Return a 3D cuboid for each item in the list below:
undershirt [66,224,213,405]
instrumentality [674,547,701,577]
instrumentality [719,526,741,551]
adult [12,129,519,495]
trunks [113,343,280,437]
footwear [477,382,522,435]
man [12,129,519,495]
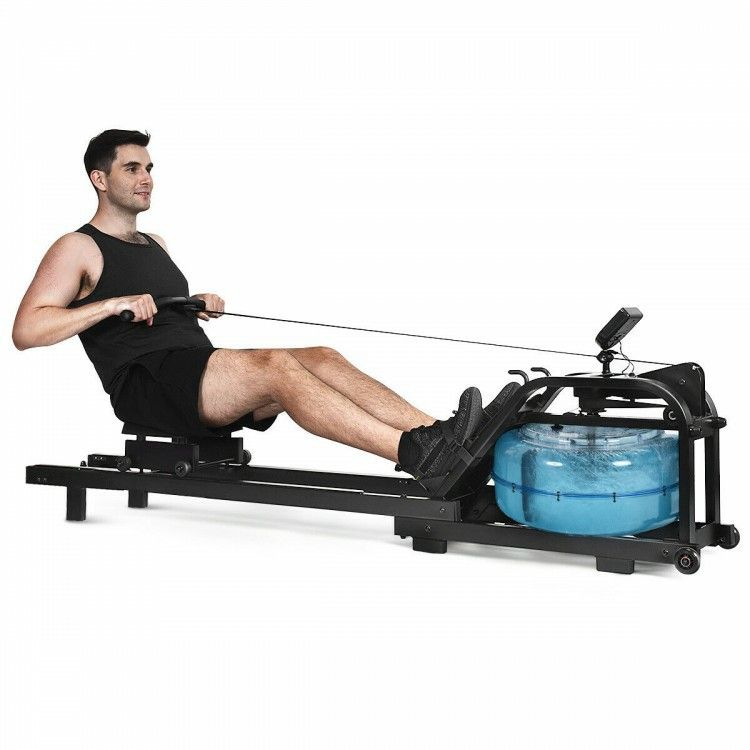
[{"bbox_3d":[-1.018,-0.361,4.115,0.442,0.557,0.561,-3,13,32],"label":"undershirt"},{"bbox_3d":[1.005,0.598,2.991,0.075,0.100,0.081,1,3,30],"label":"instrumentality"},{"bbox_3d":[1.242,0.573,3.294,0.070,0.103,0.159,0,3,20],"label":"instrumentality"},{"bbox_3d":[-0.388,-0.208,3.830,1.970,0.907,0.938,16,19,12],"label":"adult"},{"bbox_3d":[-0.747,0.142,3.966,0.641,0.174,0.566,-3,-15,38],"label":"trunks"},{"bbox_3d":[0.439,0.112,3.278,0.146,0.162,0.075,-1,3,4],"label":"footwear"},{"bbox_3d":[-0.398,-0.200,3.781,1.967,0.906,0.958,15,15,21],"label":"man"}]
